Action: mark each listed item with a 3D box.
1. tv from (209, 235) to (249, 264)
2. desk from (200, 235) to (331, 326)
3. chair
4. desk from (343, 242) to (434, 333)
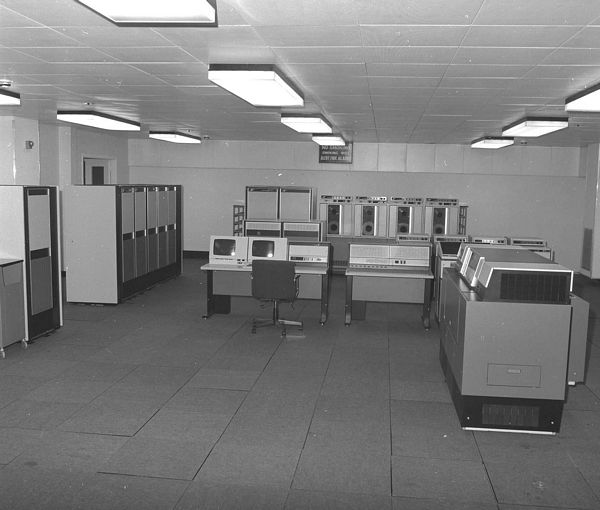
[{"bbox_3d":[-1.173,0.030,7.972,0.735,0.587,0.416,0,-6,6],"label":"tv"},{"bbox_3d":[-0.548,0.407,7.994,1.930,1.493,1.199,1,0,0],"label":"desk"},{"bbox_3d":[-0.347,0.609,7.127,0.754,1.151,0.746,1,6,0],"label":"chair"},{"bbox_3d":[1.498,0.466,7.980,1.178,1.076,1.401,1,12,6],"label":"desk"}]
